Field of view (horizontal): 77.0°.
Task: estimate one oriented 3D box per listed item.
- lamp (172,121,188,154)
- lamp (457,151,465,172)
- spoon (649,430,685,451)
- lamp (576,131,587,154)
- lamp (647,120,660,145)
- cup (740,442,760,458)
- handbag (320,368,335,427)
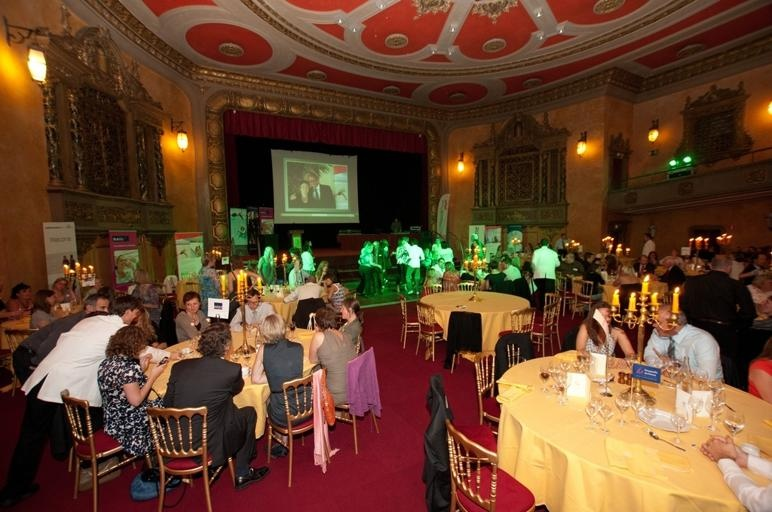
[{"bbox_3d":[-6.372,-3.743,15.017,0.480,0.873,0.786,-2,2,-22],"label":"lamp"},{"bbox_3d":[3.150,-3.987,20.566,0.353,0.832,0.415,-3,3,-45],"label":"lamp"},{"bbox_3d":[3.896,2.570,6.706,0.075,0.056,0.351,-34,45,-24],"label":"spoon"},{"bbox_3d":[6.978,-4.040,17.227,0.350,0.813,0.231,1,3,24],"label":"lamp"},{"bbox_3d":[9.477,-4.442,17.089,0.332,0.821,0.302,1,3,29],"label":"lamp"},{"bbox_3d":[4.905,2.610,6.528,0.206,0.125,0.179,0,2,37],"label":"cup"},{"bbox_3d":[-0.956,2.311,7.890,0.162,0.883,0.306,-2,3,-33],"label":"handbag"}]
